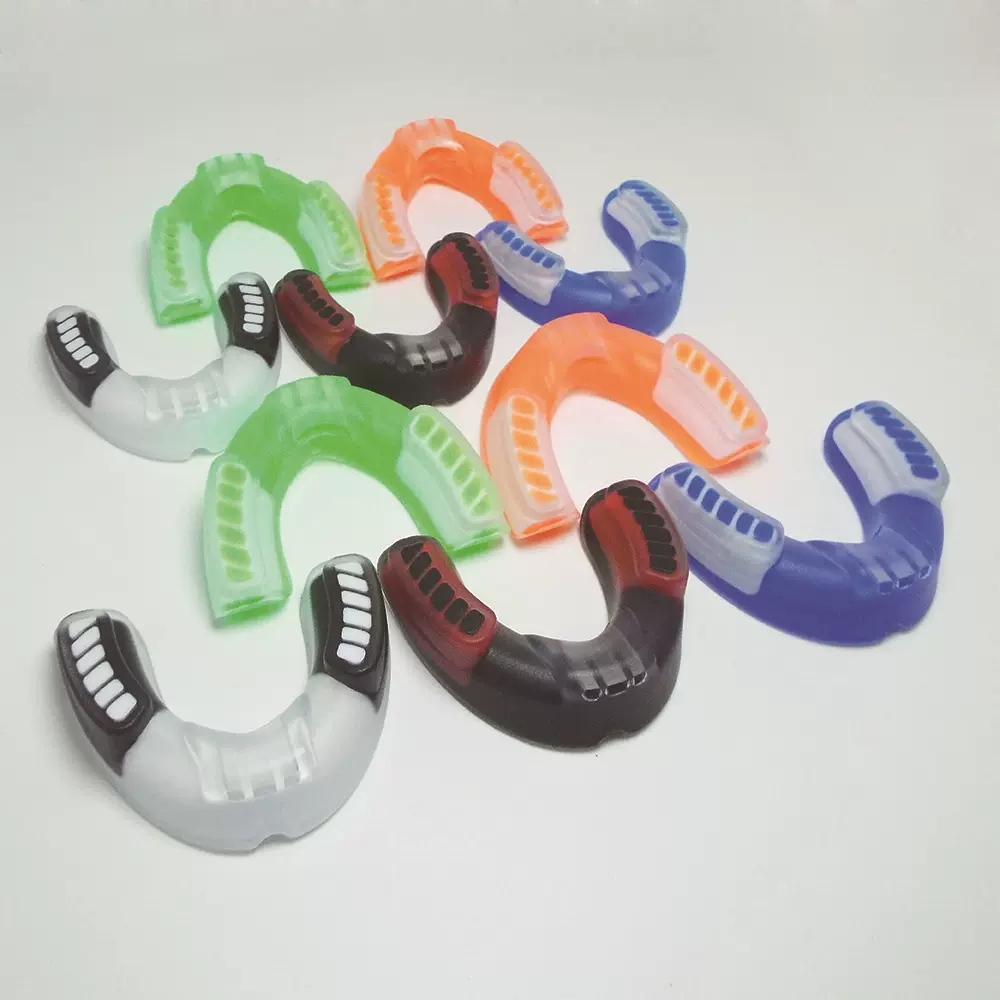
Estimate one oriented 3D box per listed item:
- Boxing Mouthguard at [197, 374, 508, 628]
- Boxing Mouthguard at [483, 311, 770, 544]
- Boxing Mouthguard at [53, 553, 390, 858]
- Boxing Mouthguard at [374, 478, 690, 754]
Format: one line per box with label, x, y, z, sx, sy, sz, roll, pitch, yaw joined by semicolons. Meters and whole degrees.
Boxing Mouthguard;-0.379;-0.010;2.987;0.734;0.233;0.659;-7;52;-22
Boxing Mouthguard;0.293;-0.279;3.488;0.840;0.523;0.861;-4;50;-10
Boxing Mouthguard;-0.553;0.461;2.649;0.717;0.267;0.683;-8;46;-24
Boxing Mouthguard;0.145;0.296;2.875;0.726;0.293;0.724;-12;38;-20
